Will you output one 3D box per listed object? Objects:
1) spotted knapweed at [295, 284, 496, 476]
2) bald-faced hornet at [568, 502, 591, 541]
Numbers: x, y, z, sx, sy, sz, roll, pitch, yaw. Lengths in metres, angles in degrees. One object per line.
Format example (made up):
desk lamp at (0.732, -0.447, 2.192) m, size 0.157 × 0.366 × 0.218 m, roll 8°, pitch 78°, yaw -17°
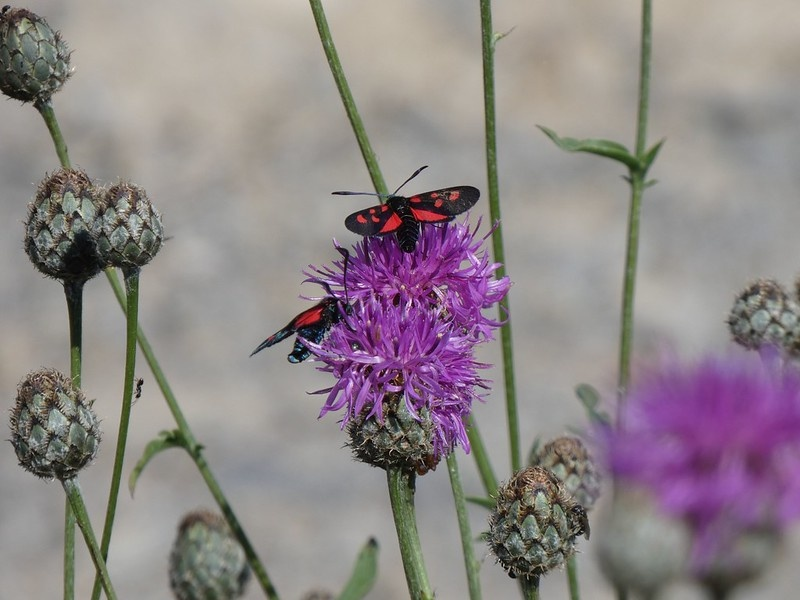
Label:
spotted knapweed at (-0.015, 0.218, 3.533) m, size 0.410 × 0.453 × 0.430 m, roll -21°, pitch -8°, yaw -22°
bald-faced hornet at (0.451, 0.556, 3.387) m, size 0.031 × 0.068 × 0.087 m, roll -8°, pitch -82°, yaw -5°
